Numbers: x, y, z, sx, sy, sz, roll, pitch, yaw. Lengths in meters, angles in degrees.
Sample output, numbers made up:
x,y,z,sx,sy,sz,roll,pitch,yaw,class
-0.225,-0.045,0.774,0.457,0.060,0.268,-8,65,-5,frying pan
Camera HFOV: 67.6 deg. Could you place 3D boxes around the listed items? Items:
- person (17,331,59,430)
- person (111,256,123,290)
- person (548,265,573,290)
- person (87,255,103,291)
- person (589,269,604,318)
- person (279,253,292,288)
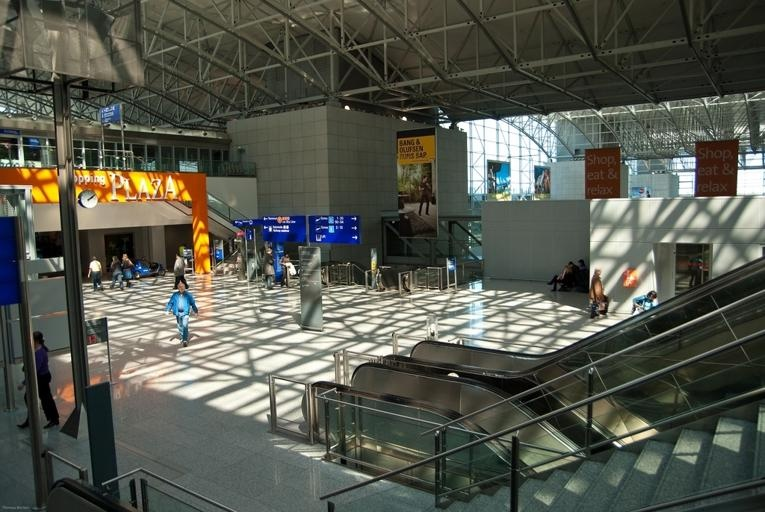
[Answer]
x,y,z,sx,sy,sz,roll,pitch,yaw,class
-7.580,2.768,12.812,0.339,2.282,0.780,-6,9,-31,person
-13.778,0.926,29.388,0.584,1.461,1.323,-5,9,-25,person
8.341,0.981,26.874,0.991,1.239,1.272,-3,9,-14,person
-14.614,0.863,28.951,0.459,1.518,1.828,-6,10,-28,person
7.953,1.353,21.206,0.751,1.827,0.395,-6,9,-30,person
-5.173,0.750,29.909,0.477,1.517,1.238,-3,9,-10,person
